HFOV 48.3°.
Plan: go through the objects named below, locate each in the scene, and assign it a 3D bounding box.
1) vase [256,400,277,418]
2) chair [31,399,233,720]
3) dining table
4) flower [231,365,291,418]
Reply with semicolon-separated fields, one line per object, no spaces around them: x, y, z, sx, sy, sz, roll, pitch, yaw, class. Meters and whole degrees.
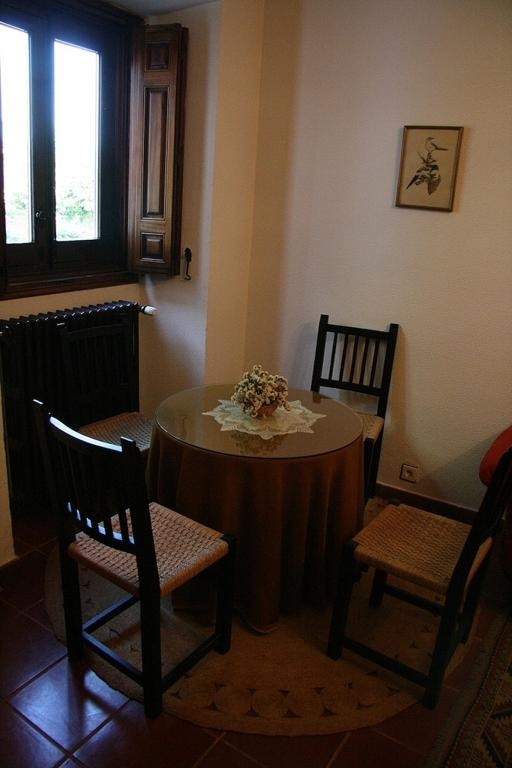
0.036;0.089;2.084;0.052;0.034;0.058;1;9;36;vase
-0.346;0.548;1.684;0.385;0.901;0.411;23;36;27;chair
0.064;0.397;2.095;0.683;0.549;0.697;21;24;36;dining table
0.016;0.029;2.136;0.168;0.164;0.194;3;7;25;flower
